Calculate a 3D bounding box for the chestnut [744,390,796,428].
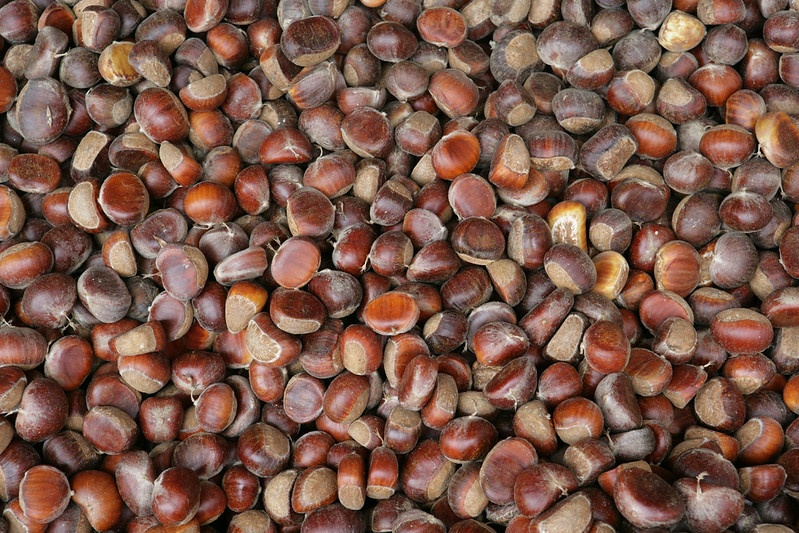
[{"bbox_3d":[2.091,0.788,4.765,0.222,0.175,0.182,17,104,0],"label":"chestnut"}]
